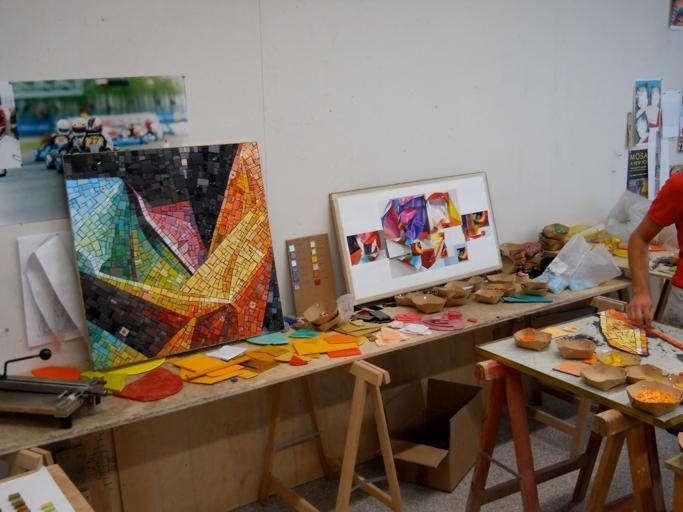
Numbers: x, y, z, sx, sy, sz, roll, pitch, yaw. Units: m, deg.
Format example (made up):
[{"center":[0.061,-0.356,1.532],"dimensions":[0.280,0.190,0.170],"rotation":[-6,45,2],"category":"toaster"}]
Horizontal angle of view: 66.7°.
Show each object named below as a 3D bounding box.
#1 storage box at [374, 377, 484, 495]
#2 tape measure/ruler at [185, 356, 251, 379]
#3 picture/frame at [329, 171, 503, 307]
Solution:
[{"center":[0.593,1.061,3.274],"dimensions":[0.453,0.480,0.684],"rotation":[5,16,32],"category":"storage box"},{"center":[-0.652,0.546,2.556],"dimensions":[0.168,0.029,0.104],"rotation":[-14,19,-39],"category":"tape measure/ruler"},{"center":[0.432,-0.103,3.326],"dimensions":[0.807,0.464,0.017],"rotation":[-16,5,-24],"category":"picture/frame"}]
